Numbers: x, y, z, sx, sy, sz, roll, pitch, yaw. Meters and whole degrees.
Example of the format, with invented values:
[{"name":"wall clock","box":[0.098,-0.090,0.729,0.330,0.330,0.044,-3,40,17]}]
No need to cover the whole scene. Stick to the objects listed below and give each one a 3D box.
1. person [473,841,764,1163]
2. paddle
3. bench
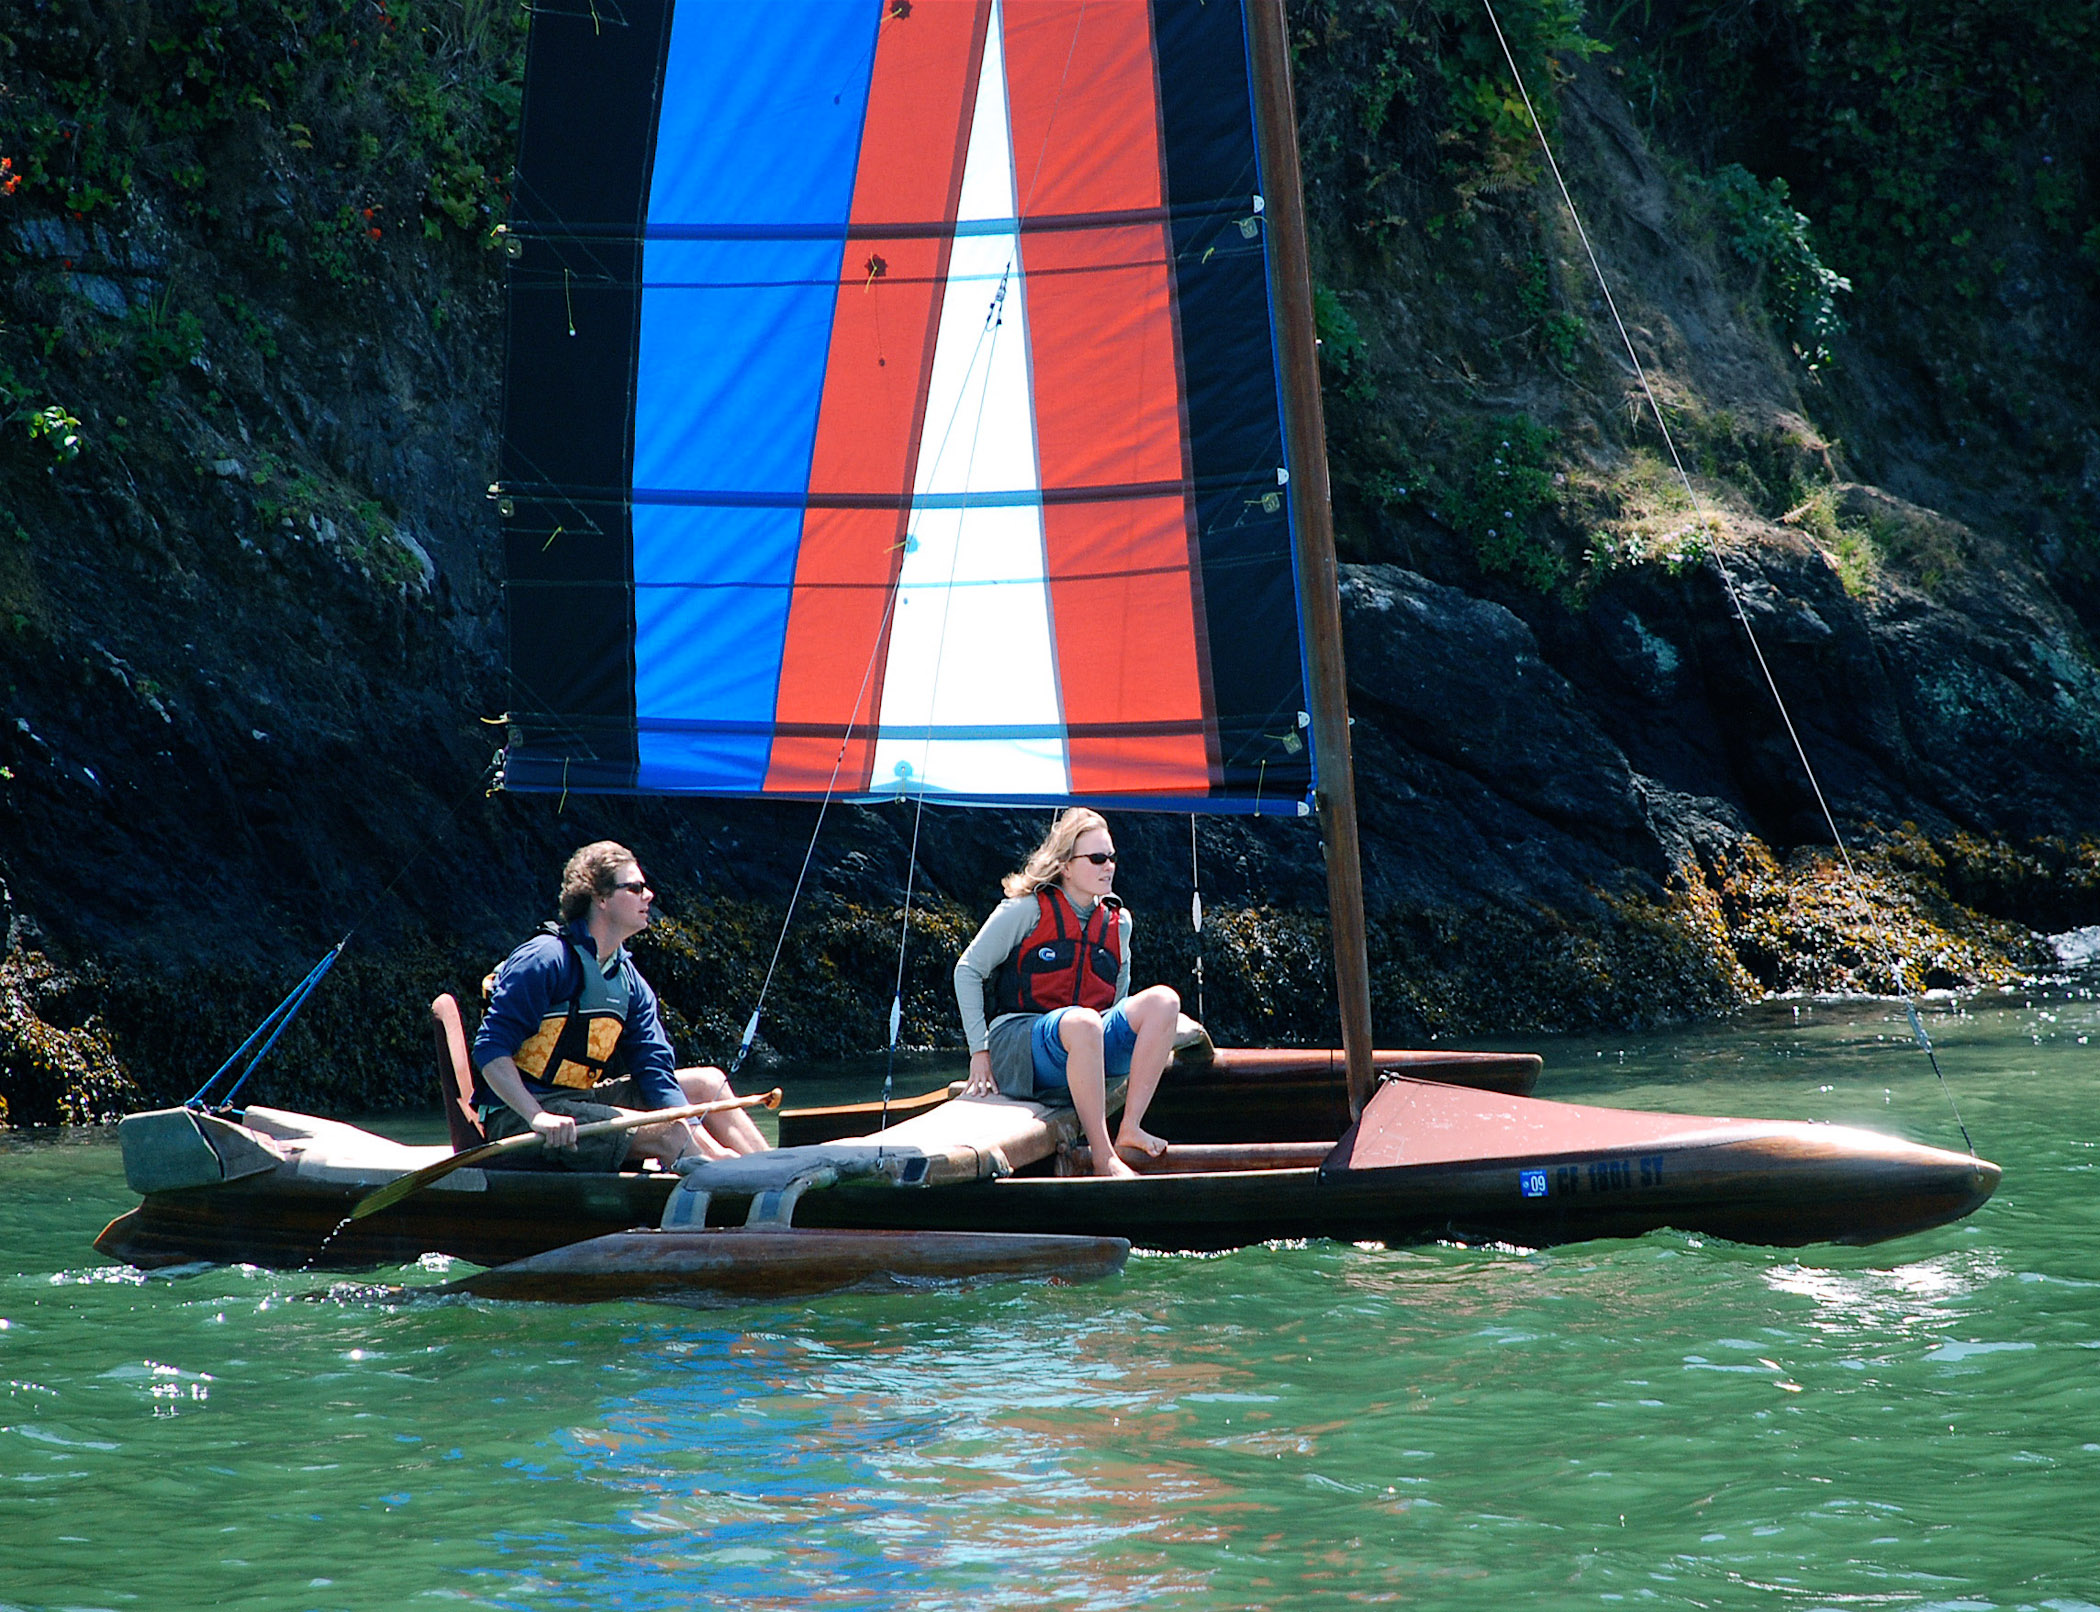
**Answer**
[{"name":"person","box":[-1.637,0.705,7.381,1.314,1.183,0.865,1,2,20]},{"name":"paddle","box":[-1.641,1.189,6.761,1.368,0.444,0.500,-3,8,-16]},{"name":"bench","box":[-0.205,1.113,6.855,0.462,0.171,0.788,-1,-1,34]}]
